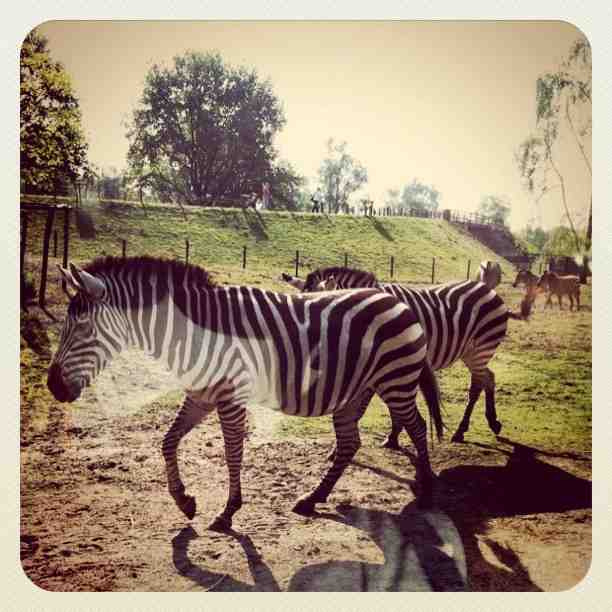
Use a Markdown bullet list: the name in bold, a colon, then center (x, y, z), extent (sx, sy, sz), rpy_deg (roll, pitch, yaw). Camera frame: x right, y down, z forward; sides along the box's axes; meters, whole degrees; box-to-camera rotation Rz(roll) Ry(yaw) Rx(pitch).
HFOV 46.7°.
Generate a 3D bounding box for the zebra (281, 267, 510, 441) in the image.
- **zebra**: center (0.716, 0.324, 4.813), extent (1.668, 1.395, 0.461), rpy_deg (-7, 13, -7)

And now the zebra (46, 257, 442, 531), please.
- **zebra**: center (-0.263, 0.479, 4.190), extent (2.290, 1.985, 0.694), rpy_deg (-4, 18, -15)
